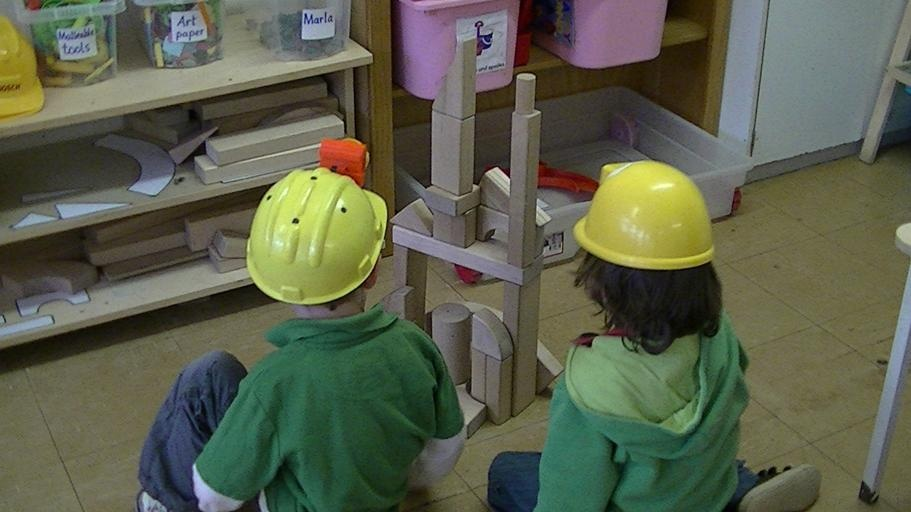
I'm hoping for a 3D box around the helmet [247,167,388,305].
[{"bbox_3d":[-0.416,-0.039,2.465,0.368,0.231,0.431,14,70,7],"label":"helmet"}]

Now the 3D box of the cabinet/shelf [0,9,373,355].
[{"bbox_3d":[-1.109,-0.309,3.080,1.490,0.888,0.550,-20,58,-14],"label":"cabinet/shelf"}]

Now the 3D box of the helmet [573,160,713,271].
[{"bbox_3d":[0.539,-0.127,2.340,0.322,0.191,0.363,-14,34,-26],"label":"helmet"}]
